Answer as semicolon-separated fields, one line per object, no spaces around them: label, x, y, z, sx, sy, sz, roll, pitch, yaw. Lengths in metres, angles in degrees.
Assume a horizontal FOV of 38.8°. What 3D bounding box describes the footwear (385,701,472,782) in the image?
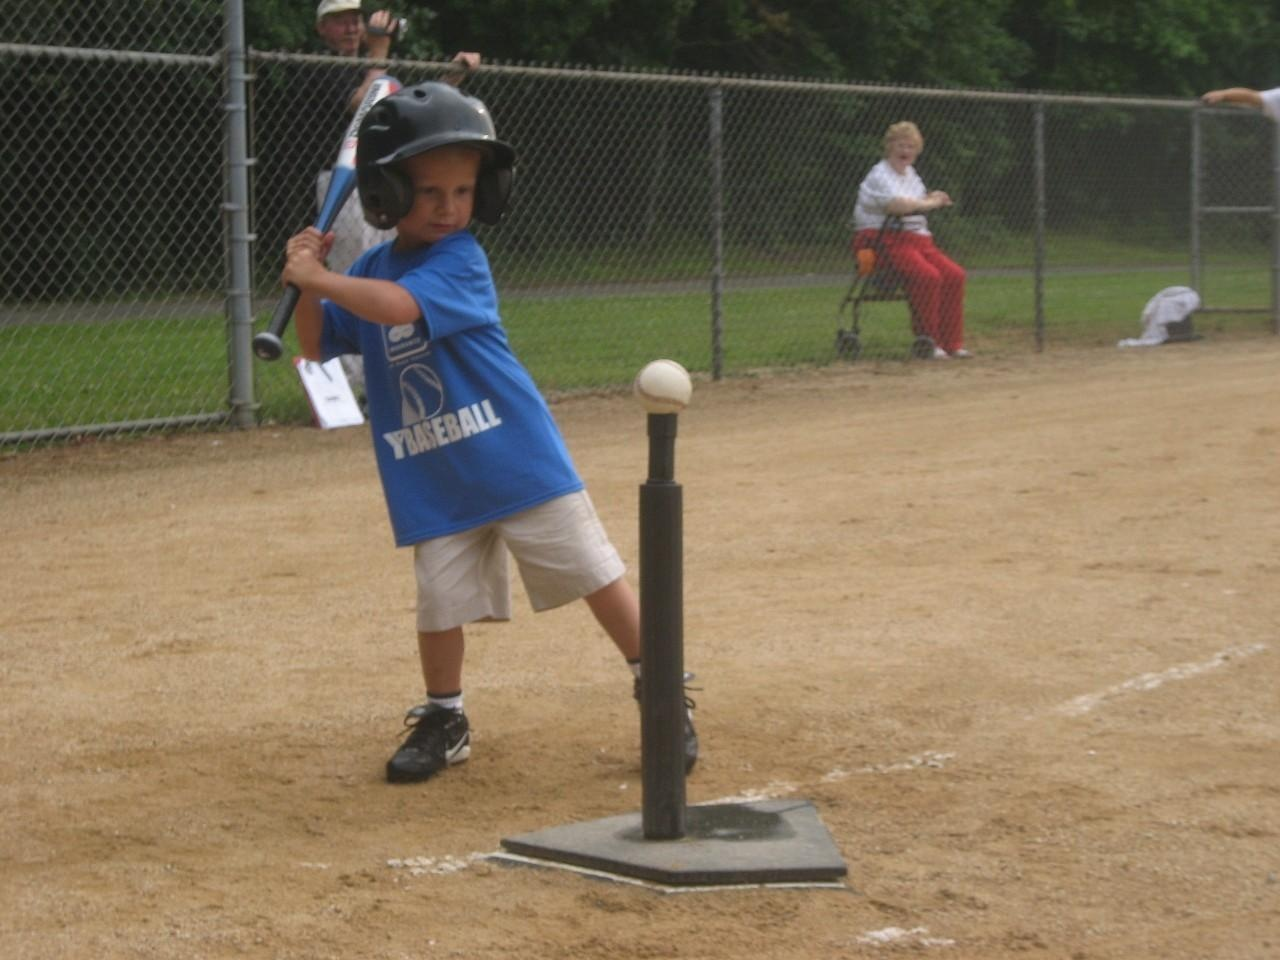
footwear;-0.659;0.843;5.835;0.147;0.170;0.365;2;1;26

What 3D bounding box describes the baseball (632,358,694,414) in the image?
baseball;0.066;-0.278;5.323;0.168;0.150;0.160;-5;-21;37

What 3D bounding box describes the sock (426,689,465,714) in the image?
sock;-0.621;0.723;5.942;0.087;0.086;0.103;-2;-2;5

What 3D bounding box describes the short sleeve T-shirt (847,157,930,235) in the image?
short sleeve T-shirt;1.673;-1.834;11.868;0.564;0.476;0.465;5;14;19

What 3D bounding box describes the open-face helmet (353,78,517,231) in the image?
open-face helmet;-0.638;-1.044;5.775;0.481;0.390;0.533;-2;-2;-31
